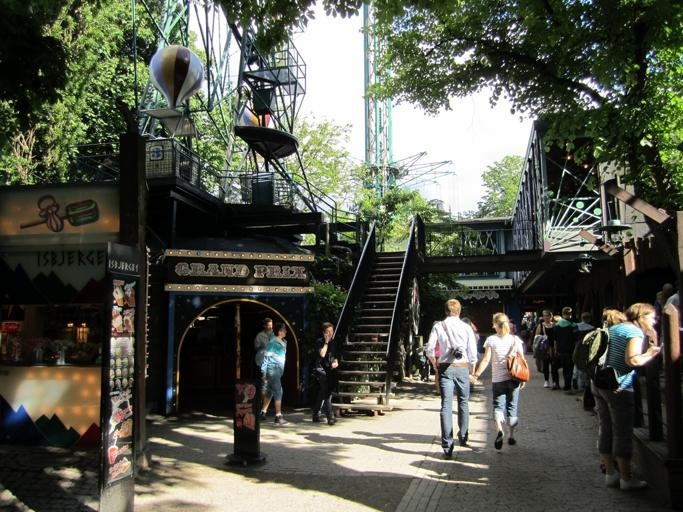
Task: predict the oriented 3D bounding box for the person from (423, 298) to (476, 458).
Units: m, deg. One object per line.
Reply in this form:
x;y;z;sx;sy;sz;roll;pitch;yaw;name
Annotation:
1.787;1.906;10.115;0.882;2.433;0.622;5;-7;-40;person

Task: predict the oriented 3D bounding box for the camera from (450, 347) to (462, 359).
1.808;1.522;9.950;0.133;0.188;0.167;5;33;3;camera

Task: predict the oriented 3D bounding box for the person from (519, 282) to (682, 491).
3.609;1.806;8.271;1.028;2.395;0.972;-2;-6;25;person

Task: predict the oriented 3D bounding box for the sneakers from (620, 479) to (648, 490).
3.752;2.921;8.082;0.266;0.119;0.153;-4;-6;6;sneakers

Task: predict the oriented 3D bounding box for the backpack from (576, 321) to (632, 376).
3.470;1.258;8.433;0.588;0.666;0.446;-4;3;4;backpack

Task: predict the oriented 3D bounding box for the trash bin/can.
-1.456;2.565;9.796;0.566;1.266;0.302;1;-5;-7;trash bin/can
